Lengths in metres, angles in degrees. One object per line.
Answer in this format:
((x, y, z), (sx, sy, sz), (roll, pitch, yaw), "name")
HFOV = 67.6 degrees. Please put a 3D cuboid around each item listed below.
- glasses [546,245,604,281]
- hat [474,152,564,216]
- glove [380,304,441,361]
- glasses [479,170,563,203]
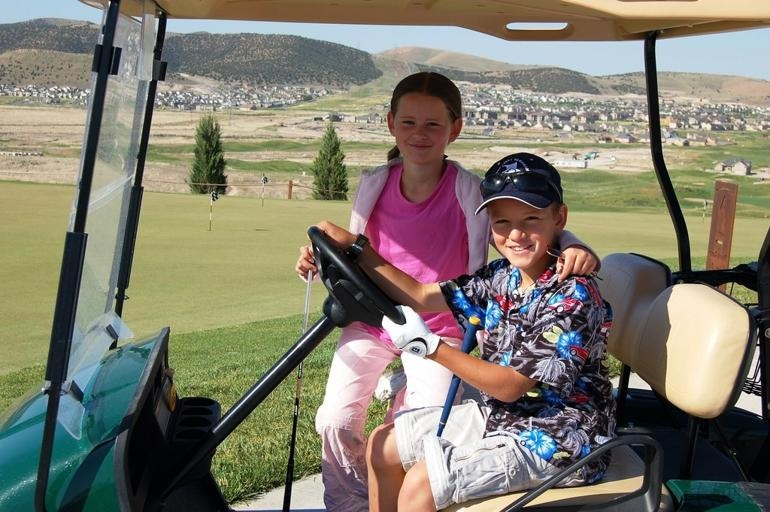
((0.711, 0.015, 2.134), (0.144, 0.063, 0.109), (20, 13, 24), "glasses")
((0.495, -0.275, 2.120), (0.205, 0.145, 0.279), (-3, -6, 32), "hat")
((0.094, 0.277, 2.045), (0.213, 0.139, 0.063), (41, -9, 14), "glove")
((0.505, -0.252, 2.134), (0.284, 0.133, 0.118), (5, 10, 15), "glasses")
